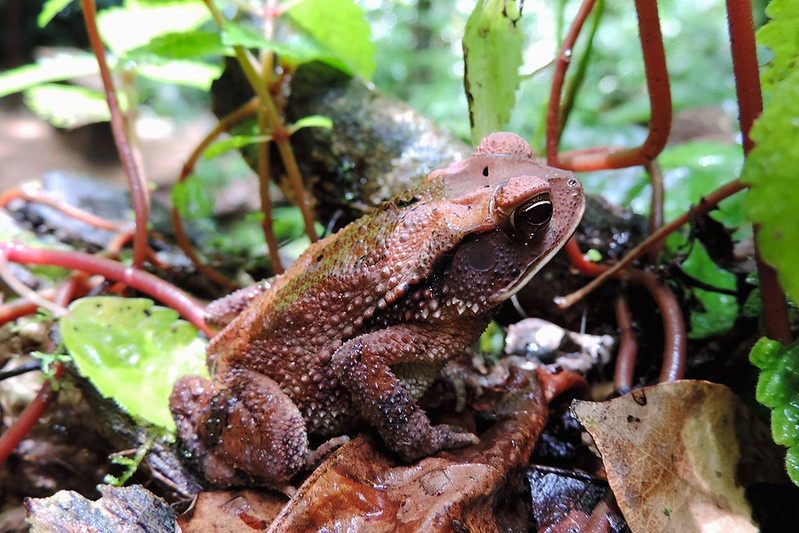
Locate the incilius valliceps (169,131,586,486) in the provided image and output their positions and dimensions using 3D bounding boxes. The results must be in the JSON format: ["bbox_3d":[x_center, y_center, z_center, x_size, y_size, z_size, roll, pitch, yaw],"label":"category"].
[{"bbox_3d":[-0.145,0.220,3.561,1.998,1.307,1.304,-7,35,-5],"label":"incilius valliceps"}]
